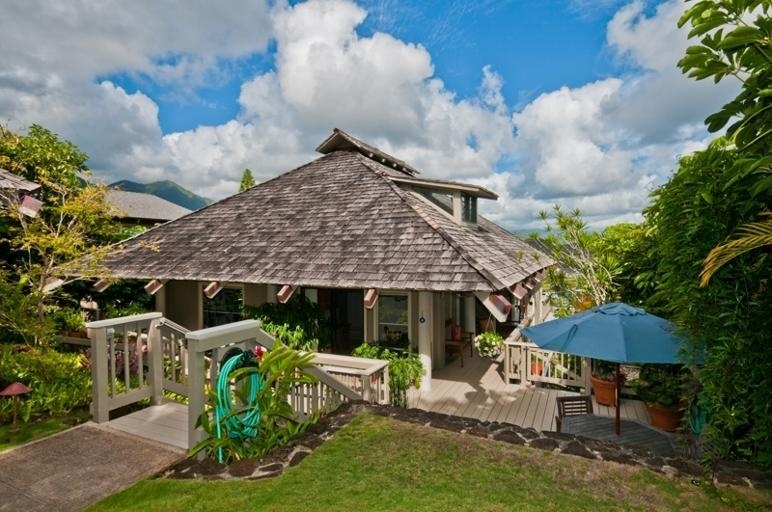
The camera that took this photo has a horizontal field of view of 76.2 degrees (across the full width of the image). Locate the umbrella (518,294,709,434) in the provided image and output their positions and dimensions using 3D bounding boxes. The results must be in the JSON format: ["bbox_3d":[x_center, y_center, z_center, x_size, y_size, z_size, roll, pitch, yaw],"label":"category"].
[{"bbox_3d":[6.441,2.360,13.259,3.462,2.645,3.614,2,-2,-27],"label":"umbrella"}]

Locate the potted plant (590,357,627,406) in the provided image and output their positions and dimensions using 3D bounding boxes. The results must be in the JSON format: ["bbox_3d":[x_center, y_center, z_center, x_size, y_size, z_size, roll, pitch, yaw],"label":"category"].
[{"bbox_3d":[7.337,4.074,16.190,1.006,1.704,1.198,8,8,36],"label":"potted plant"}]
